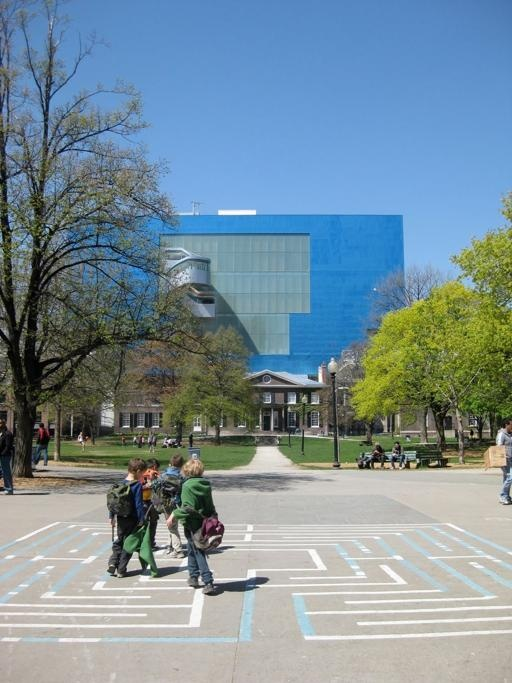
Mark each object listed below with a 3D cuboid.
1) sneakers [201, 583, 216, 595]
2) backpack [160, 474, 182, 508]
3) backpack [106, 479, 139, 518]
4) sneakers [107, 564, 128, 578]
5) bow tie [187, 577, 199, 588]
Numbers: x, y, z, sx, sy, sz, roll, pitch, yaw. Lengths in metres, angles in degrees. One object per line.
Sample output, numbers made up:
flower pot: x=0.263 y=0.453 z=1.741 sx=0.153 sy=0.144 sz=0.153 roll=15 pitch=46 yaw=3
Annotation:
sneakers: x=-0.491 y=2.556 z=8.098 sx=0.136 sy=0.128 sz=0.228 roll=-2 pitch=-5 yaw=-3
backpack: x=-1.087 y=1.912 z=10.008 sx=0.353 sy=0.424 sz=0.432 roll=2 pitch=-21 yaw=-7
backpack: x=-1.563 y=1.786 z=8.718 sx=0.315 sy=0.390 sz=0.398 roll=-4 pitch=-8 yaw=27
sneakers: x=-1.558 y=2.612 z=8.872 sx=0.107 sy=0.120 sz=0.287 roll=2 pitch=-28 yaw=-1
bow tie: x=-0.667 y=2.600 z=8.446 sx=0.063 sy=0.072 sz=0.171 roll=2 pitch=-2 yaw=-5
